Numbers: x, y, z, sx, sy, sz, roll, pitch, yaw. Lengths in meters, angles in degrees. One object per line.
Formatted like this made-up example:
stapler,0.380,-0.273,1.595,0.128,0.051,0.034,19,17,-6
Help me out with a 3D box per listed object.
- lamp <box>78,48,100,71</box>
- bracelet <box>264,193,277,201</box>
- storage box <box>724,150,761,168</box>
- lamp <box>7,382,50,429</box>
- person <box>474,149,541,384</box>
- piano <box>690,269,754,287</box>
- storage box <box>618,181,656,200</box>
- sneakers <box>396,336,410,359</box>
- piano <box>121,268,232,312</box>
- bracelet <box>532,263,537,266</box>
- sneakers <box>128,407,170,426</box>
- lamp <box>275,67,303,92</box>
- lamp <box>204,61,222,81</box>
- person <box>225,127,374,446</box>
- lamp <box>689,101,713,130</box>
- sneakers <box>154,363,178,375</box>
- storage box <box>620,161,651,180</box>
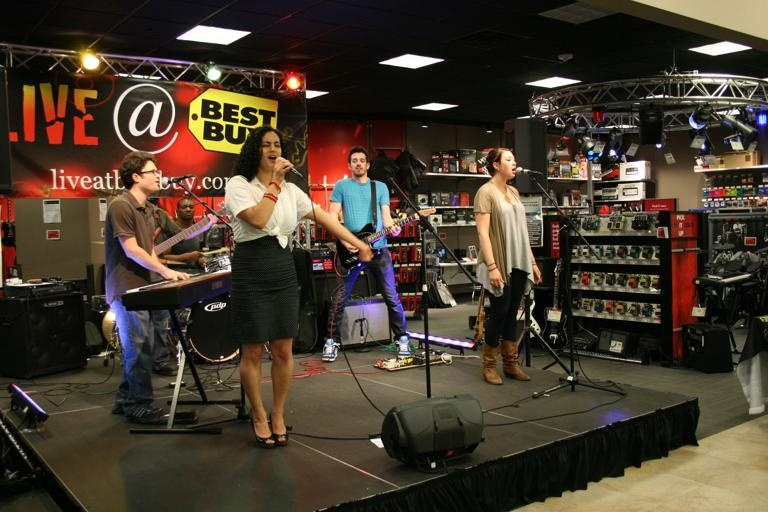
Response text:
lamp,-3.841,-2.537,7.655,0.218,0.210,0.313,-7,10,-30
bracelet,-0.854,-0.444,4.399,0.070,0.022,0.070,36,1,-14
storage box,7.911,-2.137,13.122,0.376,0.313,0.633,-5,6,-29
lamp,-3.191,1.369,5.358,0.269,0.277,0.877,4,9,-42
person,1.223,0.105,5.949,0.635,2.355,0.507,-6,10,-23
piano,4.256,0.291,7.432,1.023,0.172,0.321,-8,11,-38
storage box,6.126,-1.579,14.179,0.602,0.354,0.553,-4,-3,-37
sneakers,0.216,1.053,6.789,0.235,0.245,0.570,-1,-4,0
piano,-1.620,0.300,4.748,0.410,0.275,0.834,5,11,37
bracelet,1.536,0.080,6.027,0.042,0.030,0.042,-1,-3,24
sneakers,-2.062,1.375,5.178,0.403,0.141,0.182,-2,8,12
lamp,-1.444,-2.644,8.990,0.395,0.312,0.395,-3,9,-10
lamp,-2.438,-2.609,8.352,0.221,0.251,0.229,-5,9,-18
person,-0.810,0.232,4.674,0.809,2.470,0.462,-4,9,-15
lamp,5.625,-2.471,10.424,0.337,0.390,0.606,3,10,28
sneakers,-2.471,1.270,6.653,0.326,0.132,0.118,-2,-1,5
storage box,6.045,-2.057,14.205,0.671,0.493,0.493,1,9,19
